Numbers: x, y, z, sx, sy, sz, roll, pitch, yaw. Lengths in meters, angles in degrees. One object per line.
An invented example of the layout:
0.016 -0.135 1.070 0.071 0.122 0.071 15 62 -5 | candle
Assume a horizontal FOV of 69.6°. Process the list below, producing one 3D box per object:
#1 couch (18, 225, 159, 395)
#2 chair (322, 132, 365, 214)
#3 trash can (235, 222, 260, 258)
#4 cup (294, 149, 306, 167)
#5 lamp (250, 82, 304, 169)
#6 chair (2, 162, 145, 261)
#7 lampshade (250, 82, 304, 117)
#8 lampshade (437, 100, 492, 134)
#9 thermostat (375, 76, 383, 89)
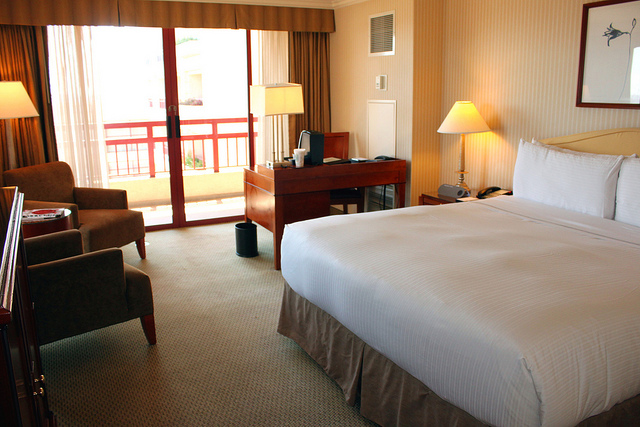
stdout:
-1.460 0.544 3.317 1.216 0.997 0.878 -8 18 -36 | couch
0.252 -0.547 6.113 0.522 0.872 0.587 -4 32 -27 | chair
-0.835 0.319 5.321 0.287 0.326 0.323 -1 7 -5 | trash can
-0.217 -0.597 5.028 0.157 0.192 0.166 0 15 0 | cup
-0.373 -0.893 5.078 0.633 0.828 0.629 7 -10 -37 | lamp
-2.539 0.004 5.140 1.310 1.427 1.045 6 12 26 | chair
-0.492 -1.139 5.001 0.378 0.350 0.524 14 20 41 | lampshade
1.533 -0.950 4.879 0.544 0.391 0.541 -3 8 -8 | lampshade
0.735 -1.608 5.677 0.015 0.194 0.151 -8 16 -30 | thermostat
